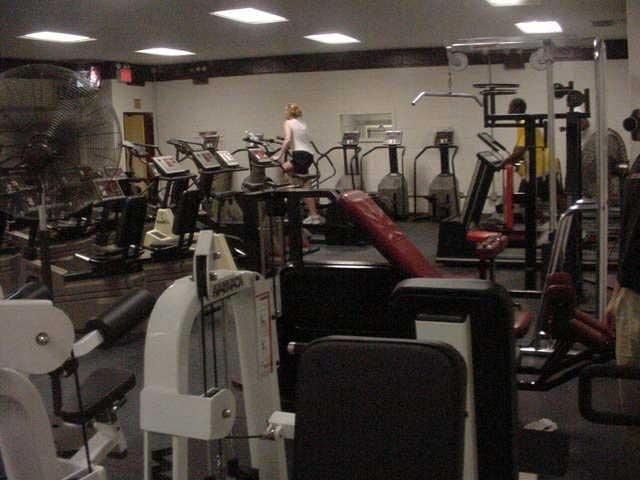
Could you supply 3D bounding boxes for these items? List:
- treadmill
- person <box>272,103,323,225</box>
[{"bbox_3d":[-0.531,-0.347,4.314,1.731,0.985,0.624,1,11,7],"label":"treadmill"},{"bbox_3d":[-0.151,-0.489,3.970,0.315,0.826,0.833,-2,8,0],"label":"person"}]
